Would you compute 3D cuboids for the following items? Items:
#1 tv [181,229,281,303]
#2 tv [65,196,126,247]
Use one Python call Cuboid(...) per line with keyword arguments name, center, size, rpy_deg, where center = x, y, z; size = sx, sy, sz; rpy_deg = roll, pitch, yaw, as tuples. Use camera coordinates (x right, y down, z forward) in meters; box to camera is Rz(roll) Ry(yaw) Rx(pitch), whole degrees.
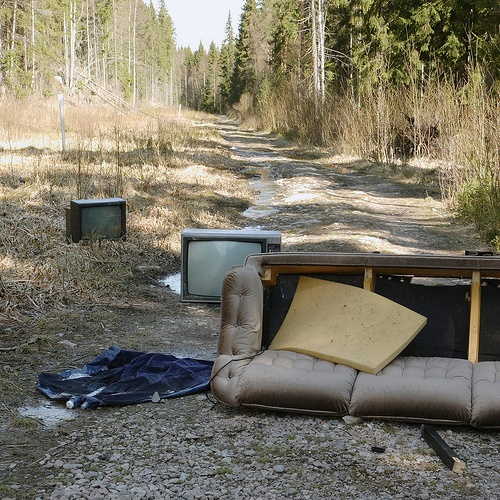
Cuboid(name="tv", center=(-0.089, 0.207, 5.775), size=(0.961, 0.623, 0.457), rpy_deg=(-2, -11, 29))
Cuboid(name="tv", center=(-1.828, -0.294, 7.294), size=(0.815, 0.445, 0.806), rpy_deg=(0, 5, 13))
